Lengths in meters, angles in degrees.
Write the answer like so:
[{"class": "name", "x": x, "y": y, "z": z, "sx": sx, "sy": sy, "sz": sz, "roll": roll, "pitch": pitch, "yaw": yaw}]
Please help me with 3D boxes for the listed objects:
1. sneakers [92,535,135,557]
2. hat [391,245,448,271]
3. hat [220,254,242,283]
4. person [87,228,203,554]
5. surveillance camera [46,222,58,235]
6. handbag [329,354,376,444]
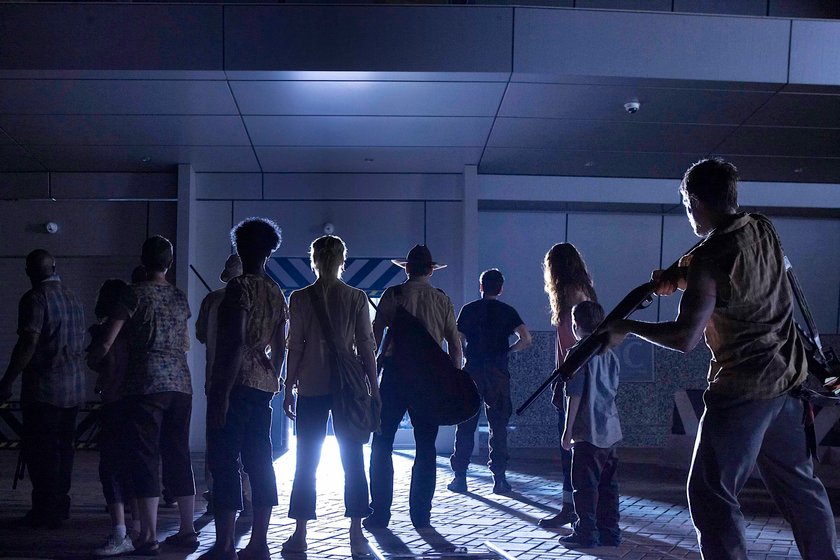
[{"class": "sneakers", "x": -2.919, "y": 2.538, "z": 7.544, "sx": 0.378, "sy": 0.160, "sz": 0.145, "roll": 4, "pitch": -9, "yaw": -25}, {"class": "hat", "x": 0.014, "y": -0.216, "z": 8.669, "sx": 0.449, "sy": 0.177, "sz": 0.485, "roll": 2, "pitch": 1, "yaw": 4}, {"class": "hat", "x": -2.071, "y": -0.116, "z": 8.694, "sx": 0.148, "sy": 0.380, "sz": 0.286, "roll": 26, "pitch": -13, "yaw": -28}, {"class": "person", "x": -2.627, "y": 1.098, "z": 7.634, "sx": 0.822, "sy": 3.021, "sz": 0.363, "roll": 0, "pitch": 2, "yaw": -21}, {"class": "surveillance camera", "x": -5.565, "y": -0.780, "z": 11.949, "sx": 0.168, "sy": 0.170, "sz": 0.127, "roll": 12, "pitch": -5, "yaw": -2}, {"class": "handbag", "x": -0.628, "y": 1.114, "z": 7.650, "sx": 0.450, "sy": 1.218, "sz": 0.346, "roll": -4, "pitch": 27, "yaw": -3}]
